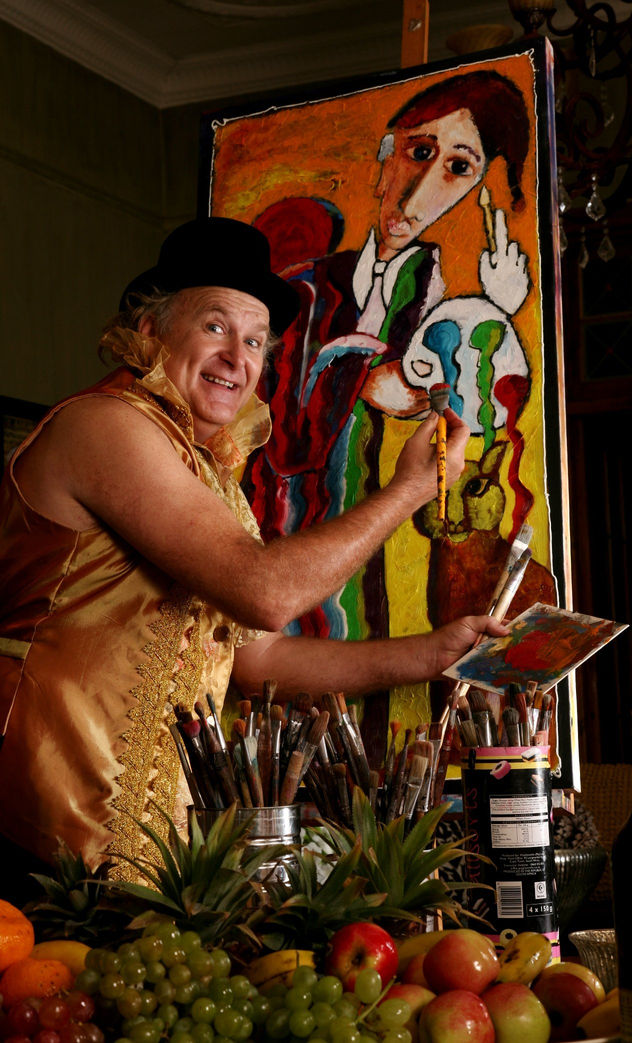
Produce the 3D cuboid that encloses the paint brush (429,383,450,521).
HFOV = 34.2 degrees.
[{"bbox_3d":[0.158,-0.095,1.312,0.031,0.192,0.016,6,-23,-9],"label":"paint brush"}]

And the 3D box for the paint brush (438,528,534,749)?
[{"bbox_3d":[0.216,0.145,1.280,0.043,0.341,0.030,35,-13,-25],"label":"paint brush"}]
